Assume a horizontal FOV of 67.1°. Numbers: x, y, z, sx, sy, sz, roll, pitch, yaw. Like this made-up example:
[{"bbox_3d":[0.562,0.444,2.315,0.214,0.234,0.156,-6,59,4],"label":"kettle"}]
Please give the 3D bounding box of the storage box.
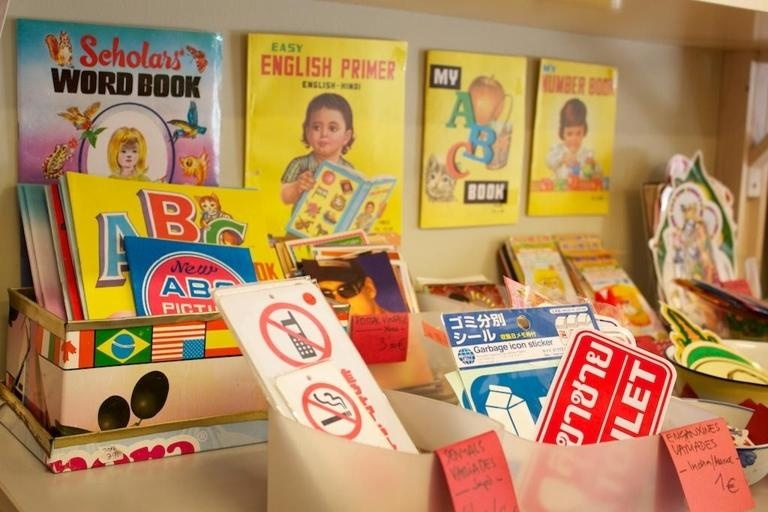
[{"bbox_3d":[-0.455,0.140,1.010,0.402,0.186,0.276,-2,4,-35],"label":"storage box"}]
